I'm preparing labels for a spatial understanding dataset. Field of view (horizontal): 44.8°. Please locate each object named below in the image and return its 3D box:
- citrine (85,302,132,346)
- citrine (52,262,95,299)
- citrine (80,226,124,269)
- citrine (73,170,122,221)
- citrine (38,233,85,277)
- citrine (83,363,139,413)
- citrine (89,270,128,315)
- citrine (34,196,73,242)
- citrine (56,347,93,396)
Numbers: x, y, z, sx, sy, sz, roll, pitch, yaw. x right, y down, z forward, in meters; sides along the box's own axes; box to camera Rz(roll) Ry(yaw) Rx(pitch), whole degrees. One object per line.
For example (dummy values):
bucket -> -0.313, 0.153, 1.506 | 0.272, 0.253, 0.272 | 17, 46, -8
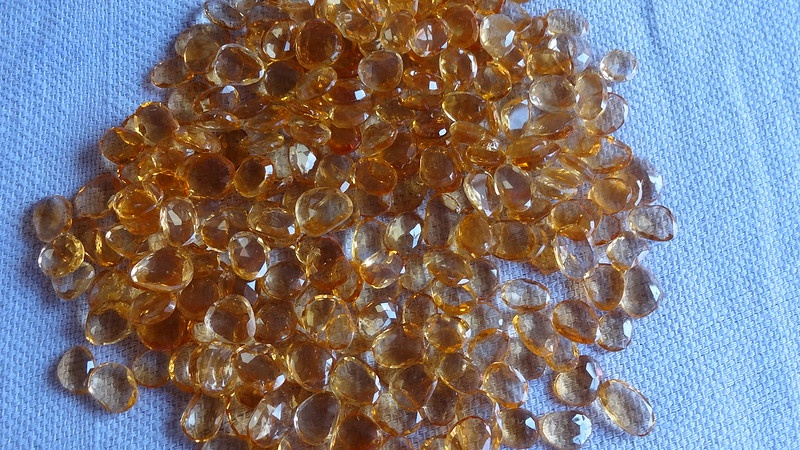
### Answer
citrine -> -0.529, 0.180, 1.753 | 0.065, 0.033, 0.081 | -1, 90, -4
citrine -> -0.600, 0.095, 1.783 | 0.072, 0.075, 0.021 | 7, 118, -17
citrine -> -0.547, 0.045, 1.769 | 0.032, 0.068, 0.068 | -31, 89, -35
citrine -> -0.549, -0.057, 1.783 | 0.063, 0.024, 0.089 | 45, 94, 4
citrine -> -0.613, 0.059, 1.773 | 0.083, 0.024, 0.069 | -30, 85, -2
citrine -> -0.523, 0.284, 1.771 | 0.081, 0.100, 0.040 | 16, 91, -17
citrine -> -0.530, 0.125, 1.760 | 0.062, 0.022, 0.066 | 2, 71, -1
citrine -> -0.632, -0.008, 1.800 | 0.063, 0.046, 0.084 | 9, 79, 5
citrine -> -0.587, 0.268, 1.754 | 0.069, 0.019, 0.081 | 6, 86, 9
